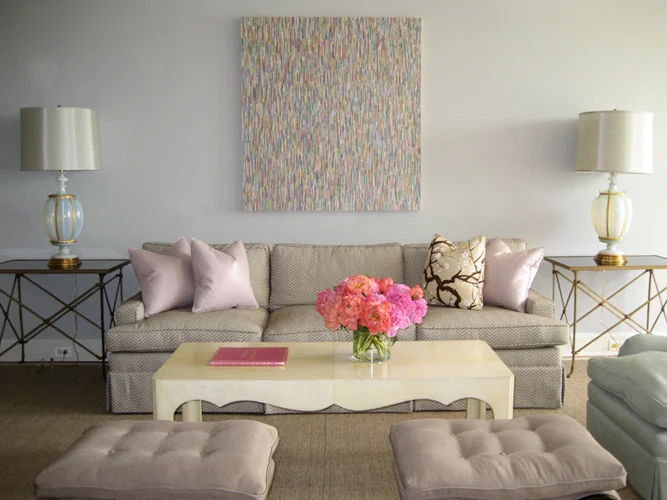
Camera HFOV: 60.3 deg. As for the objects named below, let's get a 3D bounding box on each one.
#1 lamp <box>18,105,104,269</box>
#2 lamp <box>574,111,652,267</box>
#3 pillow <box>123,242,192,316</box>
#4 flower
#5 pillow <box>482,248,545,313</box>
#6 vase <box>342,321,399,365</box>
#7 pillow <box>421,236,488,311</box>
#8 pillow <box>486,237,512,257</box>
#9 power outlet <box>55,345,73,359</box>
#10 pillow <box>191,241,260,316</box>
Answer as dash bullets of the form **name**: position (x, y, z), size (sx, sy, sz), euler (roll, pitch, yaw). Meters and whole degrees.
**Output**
- **lamp**: position (-2.014, -0.462, 4.298), size (0.546, 1.177, 0.459), euler (-7, 10, -27)
- **lamp**: position (2.126, -0.468, 4.343), size (0.542, 1.139, 0.430), euler (1, 10, 19)
- **pillow**: position (-1.202, 0.220, 4.140), size (0.271, 0.449, 0.545), euler (2, 0, 28)
- **flower**: position (0.196, 0.383, 3.216), size (0.619, 0.453, 0.622), euler (5, 5, -8)
- **pillow**: position (1.245, 0.218, 4.048), size (0.354, 0.326, 0.185), euler (15, 31, 35)
- **vase**: position (0.204, 0.491, 3.178), size (0.229, 0.249, 0.224), euler (-2, -1, -19)
- **pillow**: position (0.866, 0.190, 4.077), size (0.459, 0.519, 0.211), euler (4, -18, 31)
- **pillow**: position (1.198, -0.011, 4.217), size (0.155, 0.048, 0.144), euler (5, 20, 8)
- **power outlet**: position (-2.185, 0.823, 4.640), size (0.145, 0.103, 0.097), euler (2, -2, -10)
- **pillow**: position (-0.803, 0.174, 4.116), size (0.491, 0.506, 0.276), euler (-2, 13, -41)
